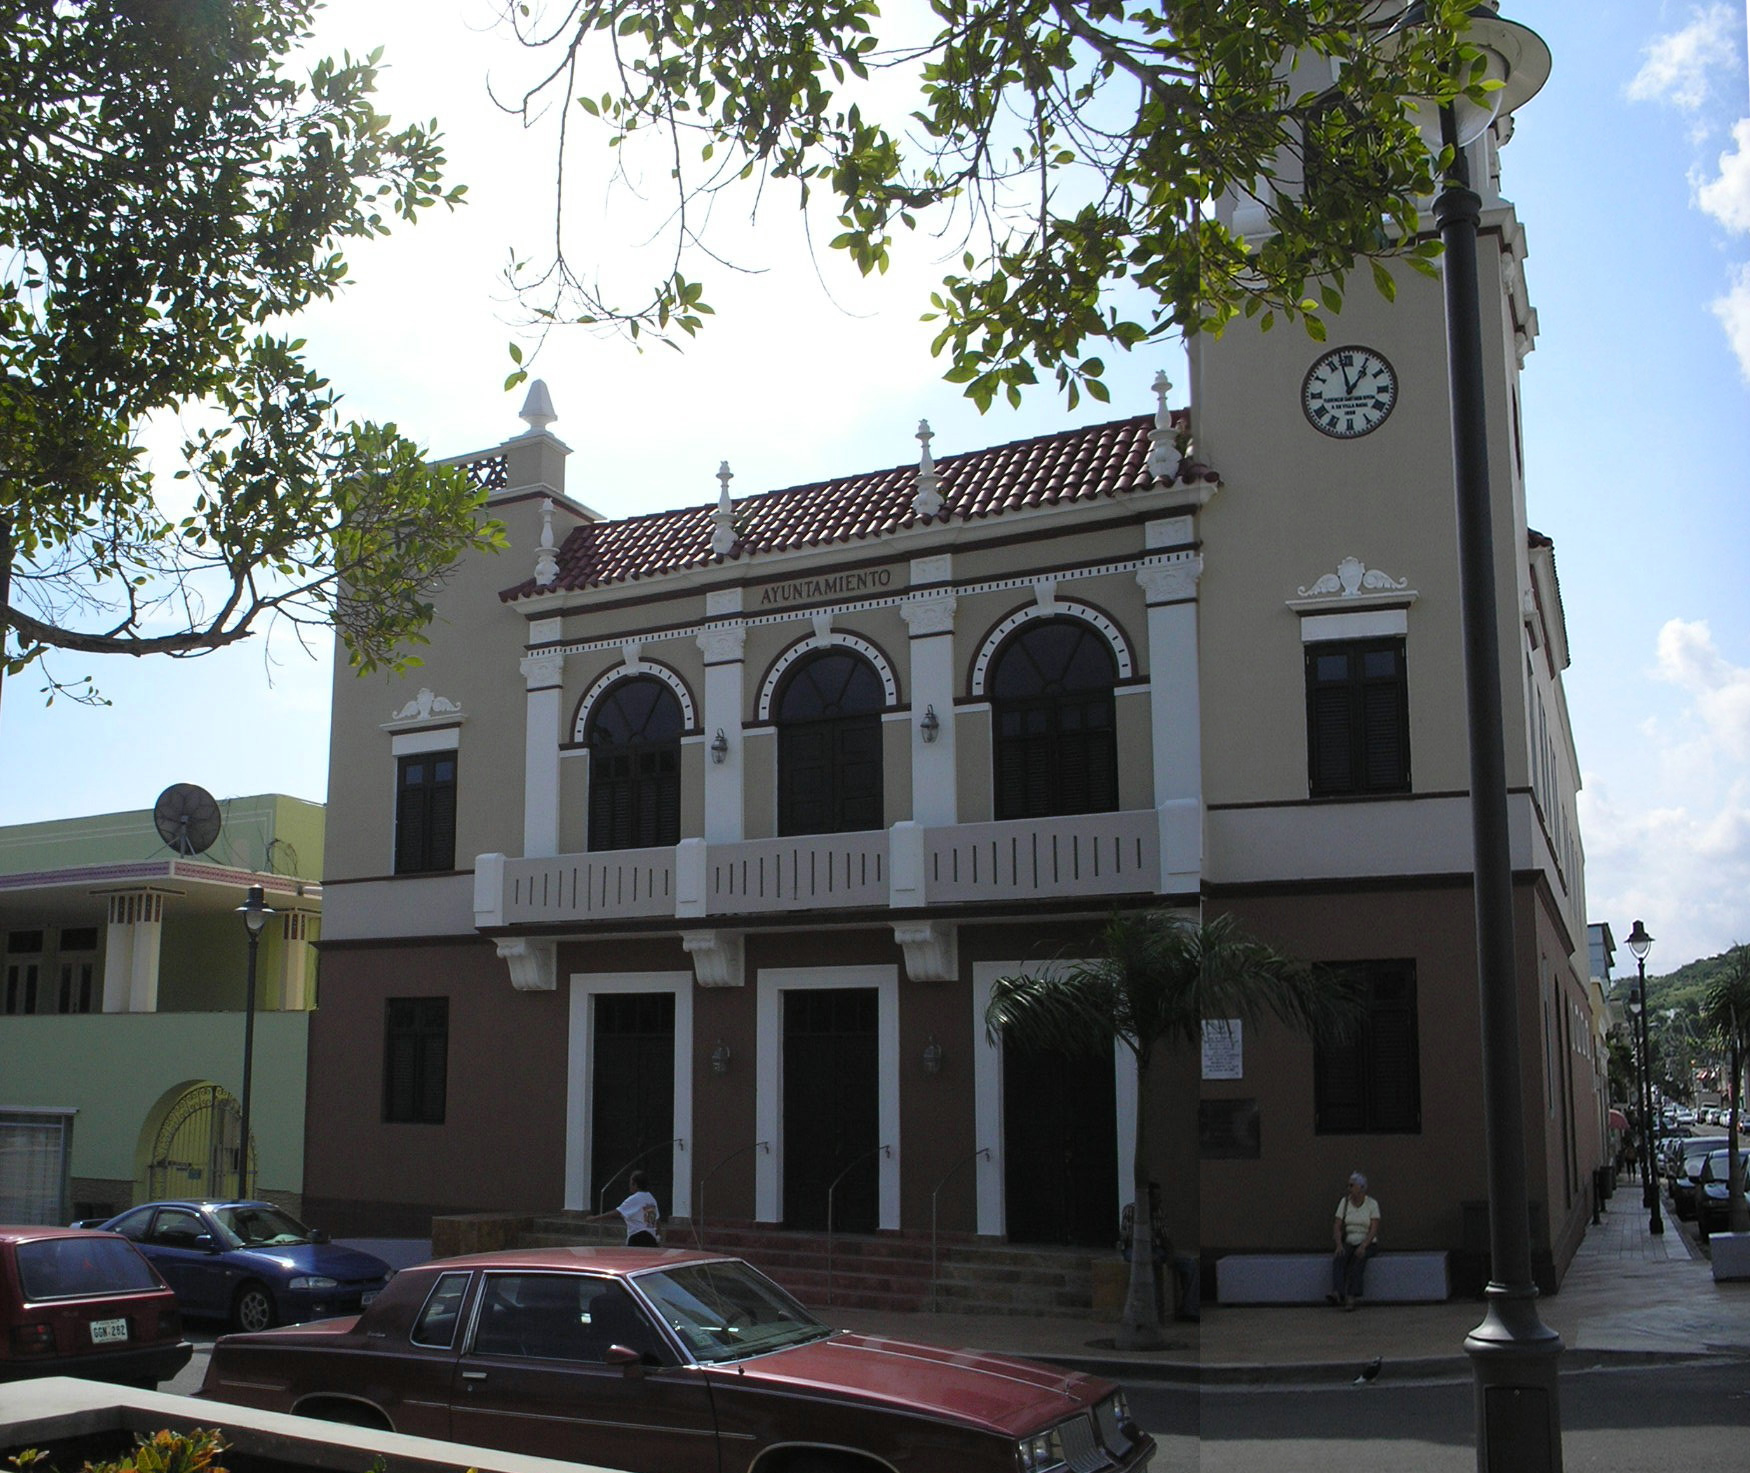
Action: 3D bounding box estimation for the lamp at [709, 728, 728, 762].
[{"bbox_3d":[-2.371,0.171,26.040,0.302,0.517,0.088,-1,-8,11],"label":"lamp"}]

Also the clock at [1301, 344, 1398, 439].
[{"bbox_3d":[6.351,-4.509,22.218,1.050,1.431,0.141,-2,-10,21],"label":"clock"}]
